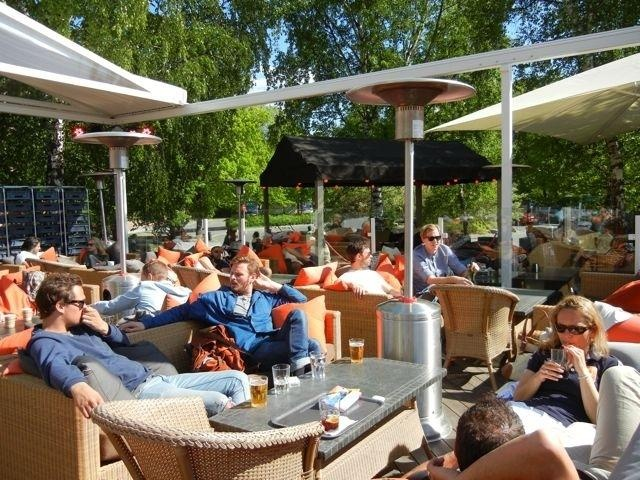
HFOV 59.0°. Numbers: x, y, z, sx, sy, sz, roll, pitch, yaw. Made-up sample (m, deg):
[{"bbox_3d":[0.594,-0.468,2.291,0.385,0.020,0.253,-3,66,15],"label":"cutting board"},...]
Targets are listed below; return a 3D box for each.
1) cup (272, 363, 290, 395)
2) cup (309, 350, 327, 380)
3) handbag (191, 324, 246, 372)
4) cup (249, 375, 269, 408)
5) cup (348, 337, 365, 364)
[{"bbox_3d":[-0.234,0.881,3.574,0.160,0.170,0.159,0,-4,0],"label":"cup"},{"bbox_3d":[-0.012,0.831,3.709,0.150,0.200,0.149,0,-3,0],"label":"cup"},{"bbox_3d":[-0.816,0.864,4.408,0.379,0.375,0.160,-39,-2,-38],"label":"handbag"},{"bbox_3d":[-0.388,0.921,3.411,0.170,0.196,0.152,1,-7,-10],"label":"cup"},{"bbox_3d":[0.238,0.796,3.995,0.156,0.191,0.150,-1,-3,0],"label":"cup"}]
